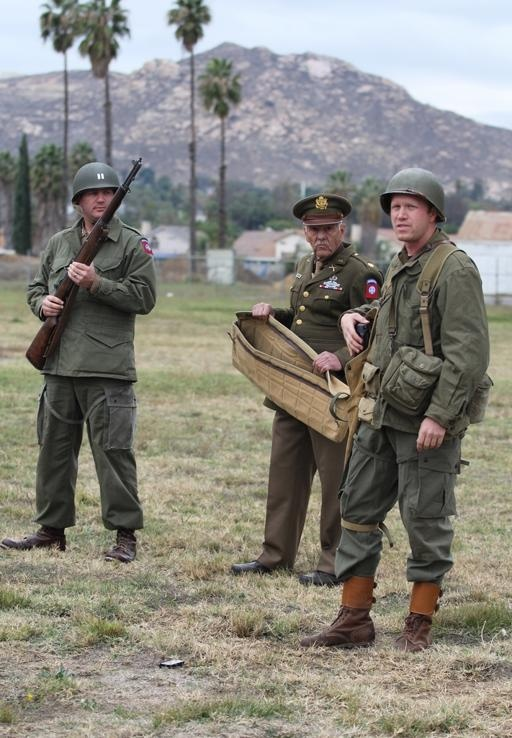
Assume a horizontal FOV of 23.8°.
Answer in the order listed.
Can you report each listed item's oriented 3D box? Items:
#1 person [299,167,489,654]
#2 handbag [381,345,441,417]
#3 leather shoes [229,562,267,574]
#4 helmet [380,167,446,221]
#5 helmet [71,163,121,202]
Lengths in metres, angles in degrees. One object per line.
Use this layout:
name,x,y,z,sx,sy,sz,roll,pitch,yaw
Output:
person,0.600,0.180,5.258,0.609,2.070,0.757,0,8,-25
handbag,0.652,0.056,5.051,0.211,0.261,0.152,30,7,25
leather shoes,-0.035,1.064,6.462,0.190,0.067,0.065,7,-14,-14
helmet,0.678,-0.754,5.217,0.232,0.189,0.256,6,16,27
helmet,-0.839,-0.995,6.480,0.188,0.131,0.248,-4,-2,-28
